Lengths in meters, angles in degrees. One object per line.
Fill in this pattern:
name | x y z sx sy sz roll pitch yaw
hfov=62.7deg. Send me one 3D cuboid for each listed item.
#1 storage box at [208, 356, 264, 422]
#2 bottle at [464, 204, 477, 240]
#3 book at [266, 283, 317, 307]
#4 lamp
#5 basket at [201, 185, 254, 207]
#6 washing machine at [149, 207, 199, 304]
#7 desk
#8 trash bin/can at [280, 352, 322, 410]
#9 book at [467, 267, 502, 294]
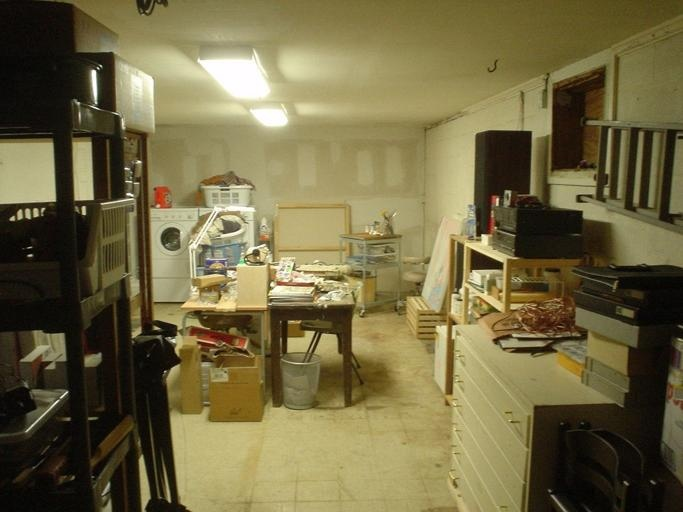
storage box | -0.750 0.996 4.267 0.448 0.405 0.416 1 4 -2
bottle | 1.012 -0.271 4.357 0.085 0.243 0.268 3 13 13
book | -0.384 0.289 4.348 0.348 0.112 0.335 0 12 -3
lamp | -0.728 -1.281 3.907 0.350 0.215 0.807 0 12 0
basket | -1.544 -0.799 7.408 0.543 0.208 0.400 0 5 -3
washing machine | -2.469 -0.007 7.544 0.937 1.149 0.871 1 2 -12
desk | -0.542 0.599 4.522 1.188 0.667 1.075 0 6 1
trash bin/can | -0.315 0.993 4.472 0.392 0.387 0.376 0 3 2
book | 0.977 0.178 3.860 0.181 0.074 0.237 1 10 11
